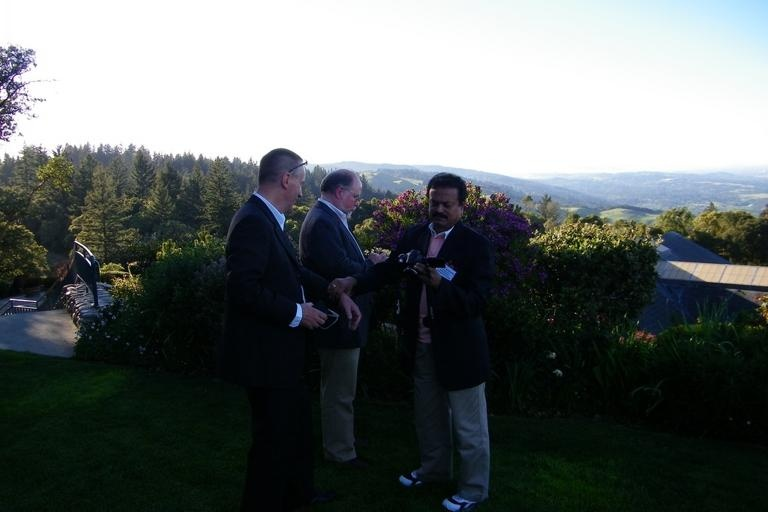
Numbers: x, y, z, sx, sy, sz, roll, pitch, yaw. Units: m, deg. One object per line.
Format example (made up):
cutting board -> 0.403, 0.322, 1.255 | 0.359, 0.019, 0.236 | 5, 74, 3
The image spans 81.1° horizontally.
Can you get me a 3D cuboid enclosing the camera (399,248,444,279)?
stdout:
camera -> 0.353, 0.059, 4.410 | 0.358, 0.178, 0.232 | 7, 3, 23
